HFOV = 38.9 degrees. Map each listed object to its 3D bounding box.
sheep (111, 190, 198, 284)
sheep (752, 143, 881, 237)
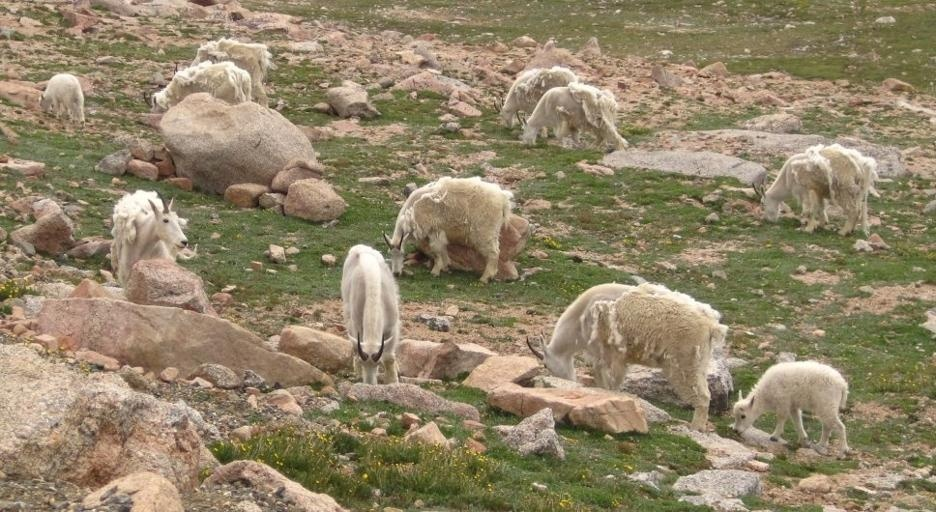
[{"bbox_3d":[-10.126,-0.866,47.305,1.771,2.970,5.011,-9,18,-44],"label":"sheep"},{"bbox_3d":[14.615,-2.868,55.299,1.855,3.351,5.880,-10,9,-44],"label":"sheep"}]
